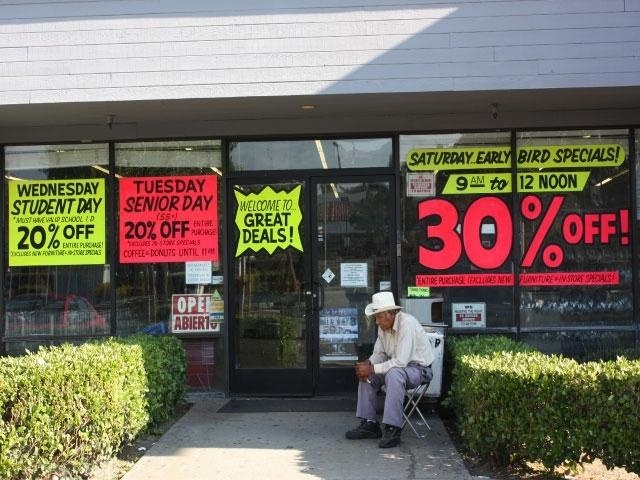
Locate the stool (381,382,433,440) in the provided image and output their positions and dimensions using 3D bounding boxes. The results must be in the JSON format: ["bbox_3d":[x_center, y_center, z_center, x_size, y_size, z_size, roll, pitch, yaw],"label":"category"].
[{"bbox_3d":[1.050,2.041,10.733,0.366,0.550,0.306,-9,11,0],"label":"stool"}]

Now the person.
[{"bbox_3d":[0.732,1.447,10.290,0.788,1.628,0.897,7,11,40],"label":"person"}]

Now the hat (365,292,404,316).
[{"bbox_3d":[0.694,0.808,10.376,0.302,0.184,0.277,-22,-6,19],"label":"hat"}]

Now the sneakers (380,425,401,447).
[{"bbox_3d":[0.749,2.191,9.960,0.125,0.269,0.348,-5,-13,29],"label":"sneakers"}]

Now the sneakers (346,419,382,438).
[{"bbox_3d":[0.506,2.171,10.319,0.449,0.258,0.171,3,-5,-2],"label":"sneakers"}]
